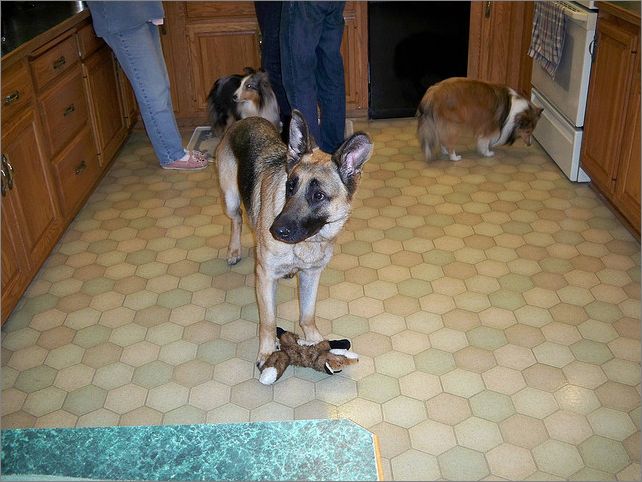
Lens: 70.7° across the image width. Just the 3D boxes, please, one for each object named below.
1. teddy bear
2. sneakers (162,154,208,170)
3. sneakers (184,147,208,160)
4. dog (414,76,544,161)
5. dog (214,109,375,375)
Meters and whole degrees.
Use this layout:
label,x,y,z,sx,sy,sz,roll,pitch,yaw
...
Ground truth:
label,x,y,z,sx,sy,sz,roll,pitch,yaw
teddy bear,-0.059,0.637,2.464,0.393,0.129,0.319,9,21,3
sneakers,-1.336,-0.796,4.535,0.359,0.104,0.195,-3,33,-3
sneakers,-1.255,-0.882,4.548,0.204,0.059,0.114,5,21,7
dog,1.559,-1.172,4.438,1.035,0.602,0.374,3,31,-6
dog,-0.229,-0.123,2.547,0.671,1.343,1.099,-15,42,-15
